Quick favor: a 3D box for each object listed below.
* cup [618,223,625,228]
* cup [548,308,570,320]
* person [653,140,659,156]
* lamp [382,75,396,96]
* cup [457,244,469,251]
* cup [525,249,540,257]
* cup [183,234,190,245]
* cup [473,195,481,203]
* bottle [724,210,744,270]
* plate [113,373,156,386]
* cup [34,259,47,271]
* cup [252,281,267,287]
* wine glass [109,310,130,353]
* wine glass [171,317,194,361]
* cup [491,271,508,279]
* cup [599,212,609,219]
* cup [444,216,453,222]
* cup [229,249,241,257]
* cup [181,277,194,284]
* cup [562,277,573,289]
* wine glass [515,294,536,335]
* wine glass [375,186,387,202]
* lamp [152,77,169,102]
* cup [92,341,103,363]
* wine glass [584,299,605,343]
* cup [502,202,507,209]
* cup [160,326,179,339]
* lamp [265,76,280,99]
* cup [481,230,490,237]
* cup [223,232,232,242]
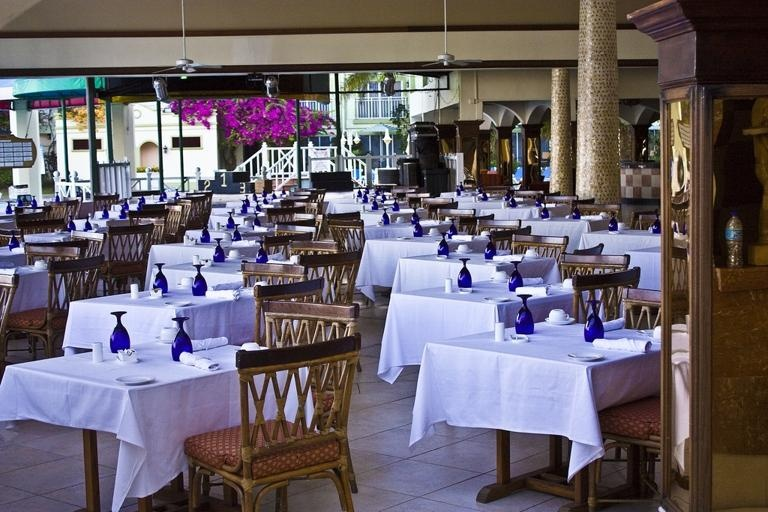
[{"bbox_3d":[2.701,-0.349,9.009,0.056,0.046,0.053,0,4,0],"label":"cup"},{"bbox_3d":[1.030,0.346,4.654,0.089,0.068,0.073,0,-3,-1],"label":"cup"},{"bbox_3d":[10.899,-4.286,31.880,0.159,0.580,1.201,1,9,13],"label":"person"},{"bbox_3d":[0.098,-4.030,18.445,0.216,0.500,0.774,-1,9,-4],"label":"lamp"},{"bbox_3d":[0.724,-0.073,7.380,0.060,0.046,0.061,-1,8,0],"label":"cup"},{"bbox_3d":[1.262,-0.035,6.792,0.091,0.078,0.072,-3,10,-27],"label":"cup"},{"bbox_3d":[-2.056,-0.163,8.139,0.088,0.112,0.093,-1,-1,0],"label":"cup"},{"bbox_3d":[1.581,-0.976,13.636,0.068,0.101,0.129,-13,19,-10],"label":"cup"},{"bbox_3d":[1.291,-0.057,2.914,0.077,0.195,0.048,-6,10,-30],"label":"bottle"},{"bbox_3d":[-1.134,0.564,3.591,0.158,0.012,0.206,-7,11,-36],"label":"plate"},{"bbox_3d":[-2.889,0.085,6.647,0.093,0.086,0.134,0,-15,3],"label":"cup"},{"bbox_3d":[-0.821,0.187,5.214,0.076,0.037,0.126,2,7,9],"label":"cup"},{"bbox_3d":[-1.376,0.402,4.095,0.091,0.227,0.185,-4,9,-19],"label":"wine glass"},{"bbox_3d":[-1.021,0.407,3.966,0.109,0.199,0.308,-3,9,-16],"label":"wine glass"},{"bbox_3d":[0.858,0.150,5.948,0.071,0.048,0.072,-1,-1,0],"label":"cup"},{"bbox_3d":[2.799,-0.516,10.124,0.092,0.099,0.096,-4,10,1],"label":"cup"},{"bbox_3d":[0.775,-0.440,9.603,0.091,0.094,0.094,0,0,0],"label":"cup"},{"bbox_3d":[-1.320,-0.028,6.924,0.070,0.062,0.074,4,-1,0],"label":"cup"},{"bbox_3d":[-1.441,0.186,5.772,0.088,0.080,0.094,0,6,0],"label":"cup"},{"bbox_3d":[1.253,0.192,5.439,0.071,0.075,0.075,0,5,0],"label":"cup"},{"bbox_3d":[0.774,0.324,4.386,0.100,0.224,0.170,1,9,9],"label":"wine glass"},{"bbox_3d":[-0.088,-1.273,16.262,0.231,0.345,0.816,-1,0,-4],"label":"wine glass"},{"bbox_3d":[-4.543,-3.413,16.033,0.240,0.524,1.399,-3,9,-15],"label":"lamp"},{"bbox_3d":[-1.425,0.476,3.922,0.054,0.094,0.111,-4,9,-21],"label":"cup"},{"bbox_3d":[1.127,0.342,4.250,0.107,0.208,0.371,1,9,15],"label":"wine glass"},{"bbox_3d":[1.863,-0.788,12.310,0.074,0.082,0.146,-1,32,24],"label":"cup"},{"bbox_3d":[-1.156,0.424,4.250,0.070,0.063,0.098,-3,-8,8],"label":"cup"},{"bbox_3d":[-2.307,-3.472,16.105,0.230,0.407,0.663,-3,9,-12],"label":"lamp"},{"bbox_3d":[1.094,-0.240,8.695,0.077,0.078,0.080,-2,8,0],"label":"cup"},{"bbox_3d":[-1.663,-0.195,8.344,0.094,0.095,0.094,-2,-2,0],"label":"cup"}]
